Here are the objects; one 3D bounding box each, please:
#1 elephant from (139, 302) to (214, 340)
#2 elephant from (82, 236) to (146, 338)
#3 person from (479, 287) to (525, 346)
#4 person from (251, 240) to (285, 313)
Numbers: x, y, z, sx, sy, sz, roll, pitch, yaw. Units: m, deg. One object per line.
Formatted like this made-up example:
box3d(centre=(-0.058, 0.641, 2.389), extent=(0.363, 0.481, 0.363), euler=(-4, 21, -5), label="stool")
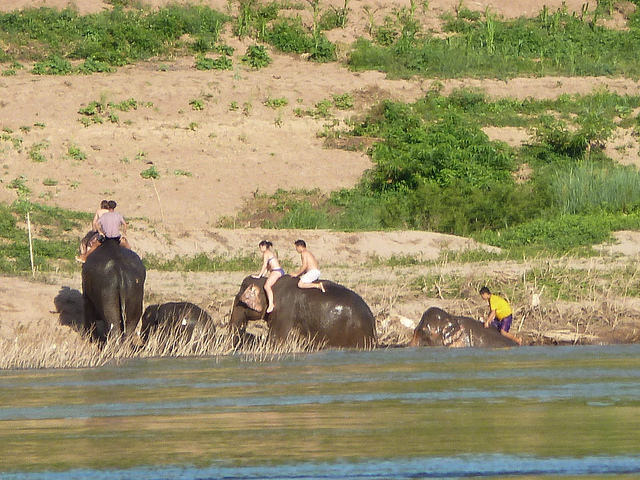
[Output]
box3d(centre=(-4.135, 2.269, 49.714), extent=(1.954, 0.917, 0.666), euler=(3, 11, 12), label="elephant")
box3d(centre=(-5.805, 1.221, 49.816), extent=(1.446, 3.129, 1.411), euler=(-7, 12, -39), label="elephant")
box3d(centre=(5.064, 2.105, 49.782), extent=(1.007, 1.720, 1.083), euler=(-6, 9, -27), label="person")
box3d(centre=(-1.426, 0.867, 49.504), extent=(0.671, 2.172, 0.765), euler=(-11, 14, -44), label="person")
